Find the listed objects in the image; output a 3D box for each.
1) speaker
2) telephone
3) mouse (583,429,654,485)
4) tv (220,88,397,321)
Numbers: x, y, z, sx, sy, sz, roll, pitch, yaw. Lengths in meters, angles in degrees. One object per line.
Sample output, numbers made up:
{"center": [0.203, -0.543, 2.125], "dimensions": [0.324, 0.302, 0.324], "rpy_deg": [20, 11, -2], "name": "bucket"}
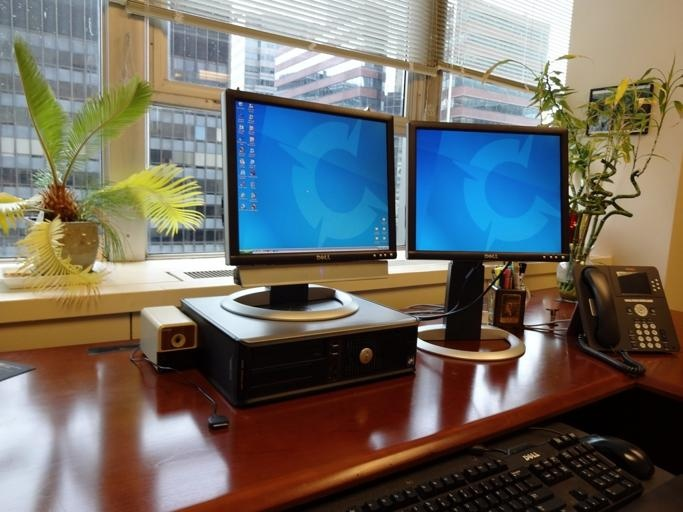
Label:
{"center": [-0.453, 0.160, 1.293], "dimensions": [0.132, 0.156, 0.224], "rpy_deg": [0, 6, -29], "name": "speaker"}
{"center": [0.885, 0.147, 1.628], "dimensions": [0.328, 0.298, 0.264], "rpy_deg": [0, 5, -12], "name": "telephone"}
{"center": [0.617, 0.436, 1.118], "dimensions": [0.079, 0.037, 0.125], "rpy_deg": [0, 21, -40], "name": "mouse"}
{"center": [-0.067, -0.176, 1.305], "dimensions": [0.515, 0.488, 0.106], "rpy_deg": [-8, 15, -25], "name": "tv"}
